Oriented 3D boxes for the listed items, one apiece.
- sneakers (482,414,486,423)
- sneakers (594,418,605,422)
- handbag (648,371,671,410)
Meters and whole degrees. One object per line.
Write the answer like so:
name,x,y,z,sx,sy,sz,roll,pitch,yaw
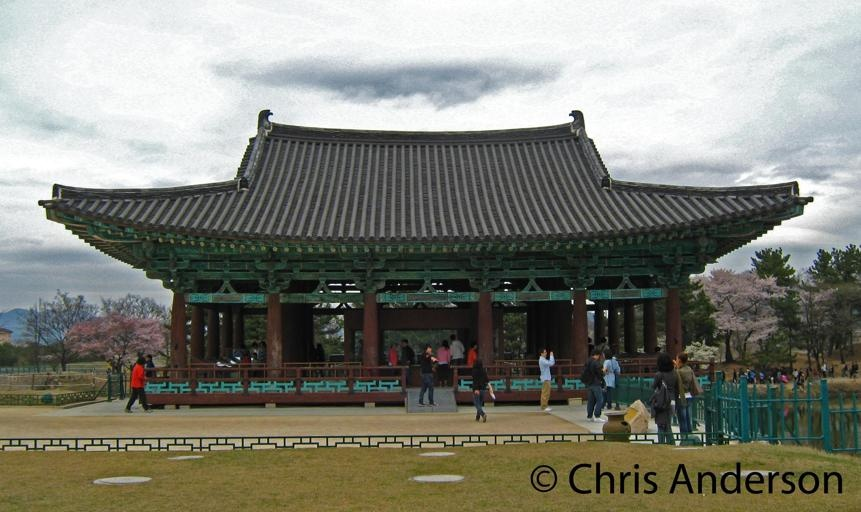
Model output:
sneakers,2.252,6.651,40.263,0.211,0.176,0.484,-1,-24,3
sneakers,6.915,6.684,39.976,0.579,0.155,0.155,0,-2,-3
handbag,8.553,5.013,36.298,0.760,1.415,0.322,-3,-12,10
